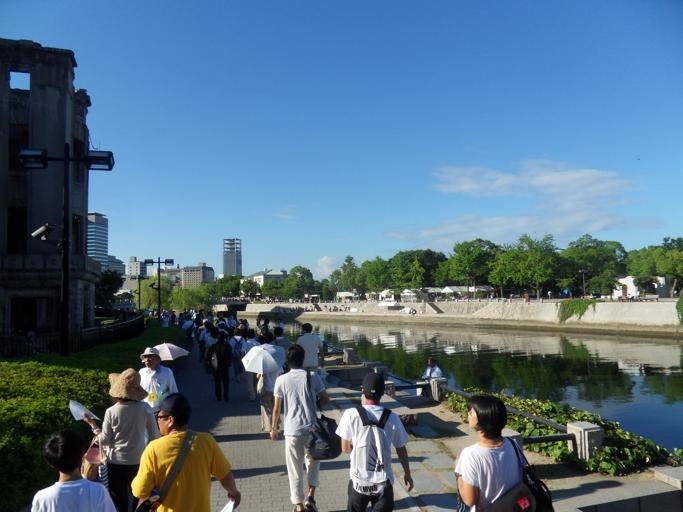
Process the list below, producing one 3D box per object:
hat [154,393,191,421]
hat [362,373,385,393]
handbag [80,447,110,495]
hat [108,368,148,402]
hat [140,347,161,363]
[{"bbox_3d":[-2.199,1.896,7.108,0.455,0.243,0.340,11,2,31],"label":"hat"},{"bbox_3d":[0.454,1.825,7.965,0.292,0.266,0.227,-3,-4,4],"label":"hat"},{"bbox_3d":[-3.425,2.949,7.664,0.318,0.671,0.709,-1,-5,-25],"label":"handbag"},{"bbox_3d":[-3.330,1.978,8.484,0.640,0.478,0.376,-5,-5,27],"label":"hat"},{"bbox_3d":[-3.540,1.824,10.279,0.289,0.230,0.388,-2,-5,-17],"label":"hat"}]
